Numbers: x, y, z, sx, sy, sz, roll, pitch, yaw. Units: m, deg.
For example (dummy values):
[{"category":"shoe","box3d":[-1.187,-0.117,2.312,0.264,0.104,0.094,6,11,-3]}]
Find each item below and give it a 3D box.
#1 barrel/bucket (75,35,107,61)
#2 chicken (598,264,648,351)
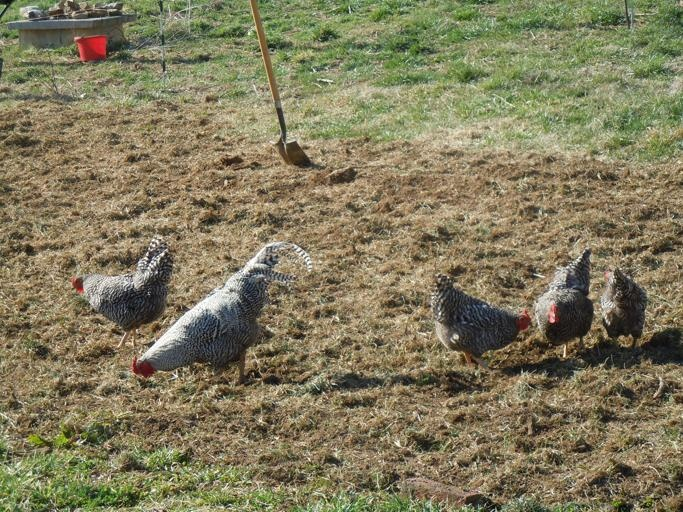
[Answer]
[{"category":"barrel/bucket","box3d":[-6.162,-5.157,36.682,0.672,0.537,0.582,-7,16,-19]},{"category":"chicken","box3d":[4.720,0.802,24.761,0.719,1.375,0.441,-3,20,11]}]
